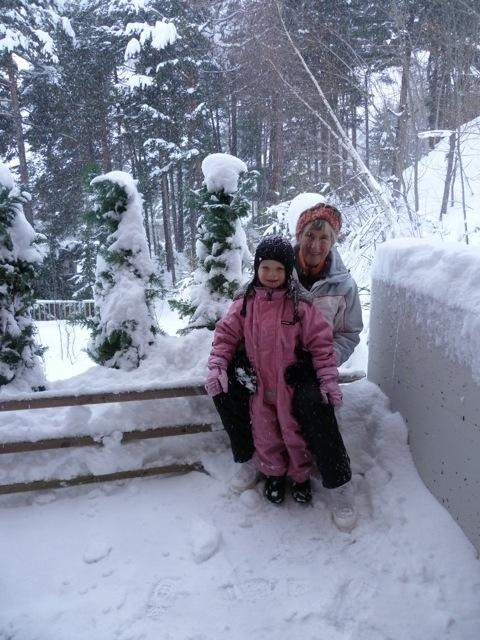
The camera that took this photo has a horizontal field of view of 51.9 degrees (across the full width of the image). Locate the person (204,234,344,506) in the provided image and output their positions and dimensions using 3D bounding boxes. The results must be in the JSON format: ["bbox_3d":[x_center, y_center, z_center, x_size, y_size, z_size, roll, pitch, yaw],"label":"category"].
[{"bbox_3d":[0.214,0.310,3.075,0.806,1.631,0.412,-1,10,14],"label":"person"}]

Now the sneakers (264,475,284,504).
[{"bbox_3d":[0.212,1.049,3.062,0.091,0.117,0.255,0,-18,6],"label":"sneakers"}]

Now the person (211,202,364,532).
[{"bbox_3d":[0.261,0.256,3.115,0.866,1.610,0.733,7,14,35],"label":"person"}]

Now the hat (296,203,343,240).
[{"bbox_3d":[0.567,-0.692,3.457,0.225,0.137,0.208,5,5,-17],"label":"hat"}]

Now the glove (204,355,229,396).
[{"bbox_3d":[-0.139,0.357,3.073,0.143,0.227,0.150,-4,10,-1],"label":"glove"}]

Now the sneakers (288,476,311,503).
[{"bbox_3d":[0.380,1.063,3.050,0.064,0.089,0.210,-2,-12,-2],"label":"sneakers"}]

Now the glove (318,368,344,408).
[{"bbox_3d":[0.525,0.401,2.918,0.125,0.183,0.212,-3,10,6],"label":"glove"}]
